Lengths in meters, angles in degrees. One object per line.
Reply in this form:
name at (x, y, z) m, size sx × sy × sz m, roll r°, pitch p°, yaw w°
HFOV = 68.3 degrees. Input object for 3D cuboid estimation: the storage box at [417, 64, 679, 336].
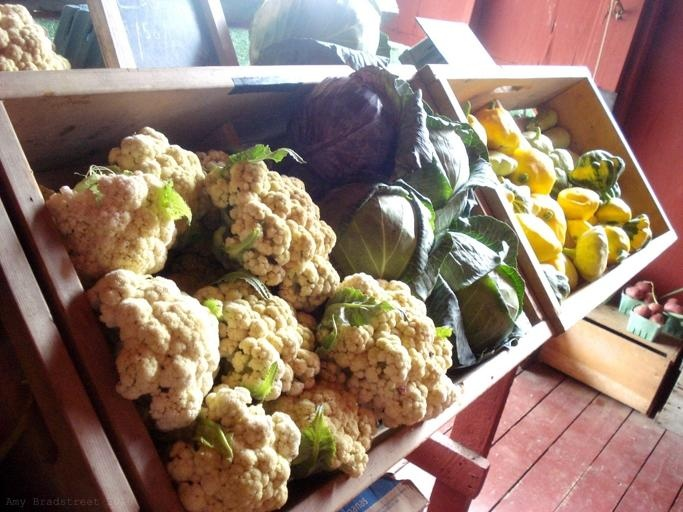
storage box at (0.648, -0.335, 2.389) m, size 1.227 × 0.400 × 1.483 m, roll -27°, pitch 91°, yaw -42°
